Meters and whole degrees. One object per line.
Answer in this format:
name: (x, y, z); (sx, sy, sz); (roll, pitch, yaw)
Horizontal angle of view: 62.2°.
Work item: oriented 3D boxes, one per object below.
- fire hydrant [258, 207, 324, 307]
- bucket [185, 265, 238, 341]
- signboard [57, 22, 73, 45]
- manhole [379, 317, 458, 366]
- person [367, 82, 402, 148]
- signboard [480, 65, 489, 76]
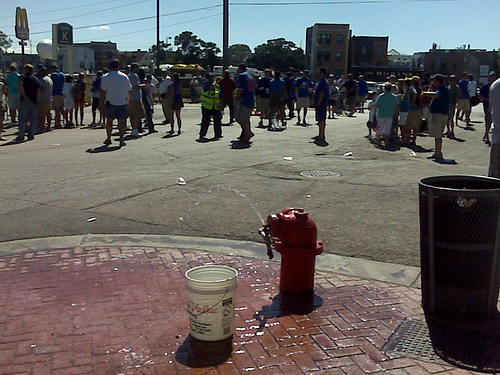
fire hydrant: (0.430, 0.676, 4.125); (0.602, 0.871, 0.511); (2, 14, 6)
bucket: (-0.271, 0.992, 3.548); (0.499, 0.432, 0.449); (-1, 3, -17)
signboard: (-21.923, -19.616, 52.851); (1.635, 2.833, 2.618); (-4, 14, -18)
manhole: (1.430, 1.294, 3.522); (0.526, 0.043, 0.596); (7, 13, 26)
person: (4.494, -2.434, 13.900); (0.654, 2.098, 0.799); (6, 15, 18)
signboard: (63.270, -32.371, 114.448); (2.082, 2.807, 1.736); (2, 14, 5)
